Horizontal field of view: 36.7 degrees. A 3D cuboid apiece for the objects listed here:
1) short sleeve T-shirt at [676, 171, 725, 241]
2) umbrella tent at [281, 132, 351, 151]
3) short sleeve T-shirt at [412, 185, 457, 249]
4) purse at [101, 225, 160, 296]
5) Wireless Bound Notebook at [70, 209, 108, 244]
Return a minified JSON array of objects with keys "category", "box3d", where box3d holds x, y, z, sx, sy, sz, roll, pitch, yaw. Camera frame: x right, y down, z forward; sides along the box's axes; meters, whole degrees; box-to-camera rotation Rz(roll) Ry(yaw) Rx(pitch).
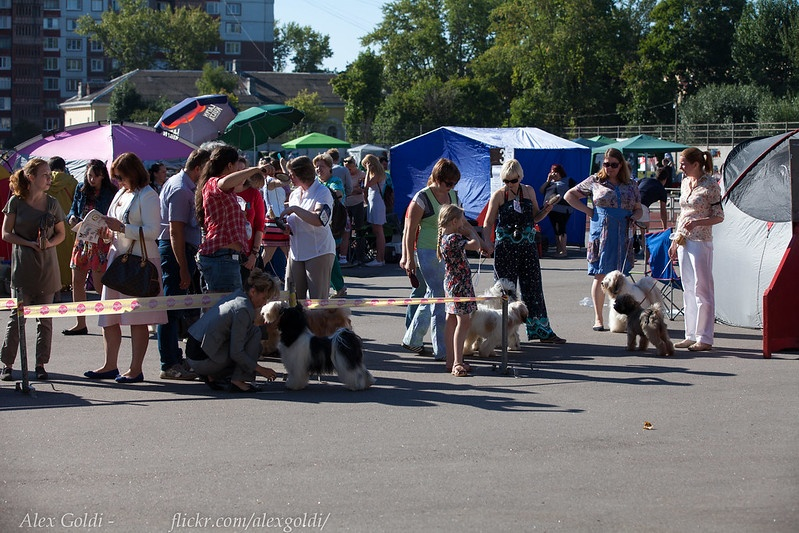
[{"category":"short sleeve T-shirt","box3d":[4.058,-0.829,16.476,0.426,0.908,0.723,9,-2,-44]},{"category":"umbrella tent","box3d":[-1.948,-3.611,34.245,1.844,0.504,1.682,-2,3,-30]},{"category":"short sleeve T-shirt","box3d":[0.570,-0.627,15.889,0.775,0.908,0.413,-1,-1,-32]},{"category":"purse","box3d":[-3.288,-0.098,14.900,0.665,0.912,0.274,11,-6,6]},{"category":"Wireless Bound Notebook","box3d":[-3.820,-0.497,14.815,0.387,0.398,0.275,0,2,-17]}]
